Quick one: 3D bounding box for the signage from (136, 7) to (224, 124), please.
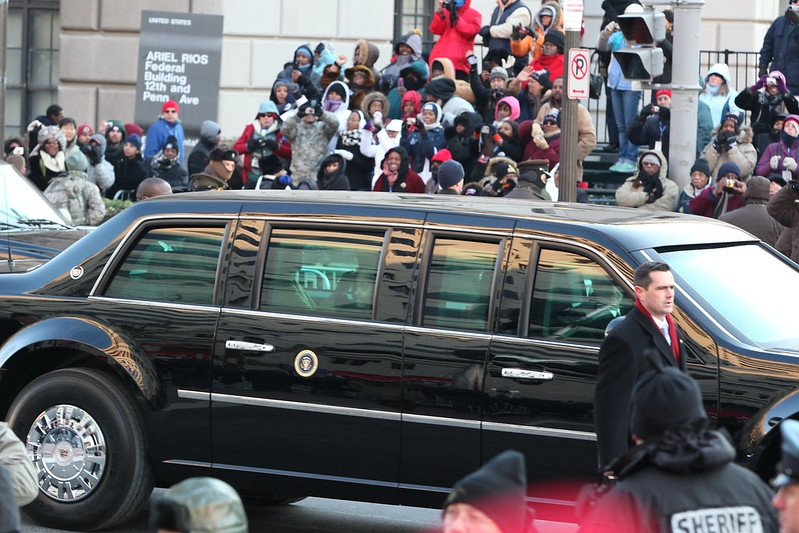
[{"bbox_3d":[-3.413,-3.144,23.015,1.311,1.766,0.848,1,4,-12],"label":"signage"}]

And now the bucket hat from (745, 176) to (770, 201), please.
[{"bbox_3d":[3.842,-0.867,15.833,0.302,0.234,0.242,-2,9,-6],"label":"bucket hat"}]

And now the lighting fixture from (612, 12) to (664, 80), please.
[{"bbox_3d":[2.692,-2.495,16.432,0.544,0.774,0.482,3,4,10],"label":"lighting fixture"}]

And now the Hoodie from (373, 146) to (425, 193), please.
[{"bbox_3d":[0.021,-1.206,18.339,0.865,0.610,0.418,10,10,33],"label":"Hoodie"}]

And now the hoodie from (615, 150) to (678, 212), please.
[{"bbox_3d":[3.143,-1.056,17.976,0.907,0.758,0.526,4,5,44],"label":"hoodie"}]

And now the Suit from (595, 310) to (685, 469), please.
[{"bbox_3d":[1.706,0.818,10.004,0.392,0.917,0.732,12,16,7],"label":"Suit"}]

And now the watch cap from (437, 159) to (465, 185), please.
[{"bbox_3d":[0.601,-1.144,17.240,0.312,0.235,0.298,-29,33,-23],"label":"watch cap"}]

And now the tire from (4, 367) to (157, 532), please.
[{"bbox_3d":[-2.331,1.369,10.985,1.484,1.241,0.499,2,-3,18],"label":"tire"}]

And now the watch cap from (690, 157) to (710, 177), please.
[{"bbox_3d":[3.637,-1.243,17.769,0.215,0.200,0.292,4,3,41],"label":"watch cap"}]

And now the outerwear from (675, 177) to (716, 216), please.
[{"bbox_3d":[3.453,-0.832,17.152,0.528,0.499,0.280,12,-30,14],"label":"outerwear"}]
